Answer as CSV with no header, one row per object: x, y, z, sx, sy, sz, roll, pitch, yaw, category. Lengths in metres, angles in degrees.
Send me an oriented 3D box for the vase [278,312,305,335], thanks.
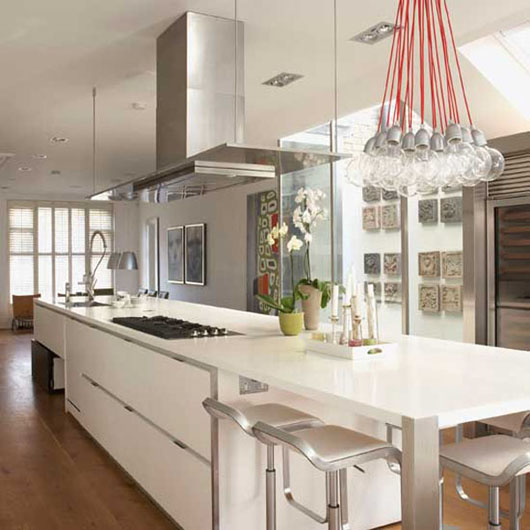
0.141,0.301,2.616,0.106,0.096,0.119,-1,-6,-5,vase

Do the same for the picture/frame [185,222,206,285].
-1.177,-0.195,8.553,0.125,1.400,0.968,2,-4,-27,picture/frame

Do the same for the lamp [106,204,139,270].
-3.307,-0.860,11.808,0.649,1.114,0.325,-2,1,-25,lamp

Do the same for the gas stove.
-0.531,0.355,2.926,0.480,0.081,0.970,-2,0,-32,gas stove
